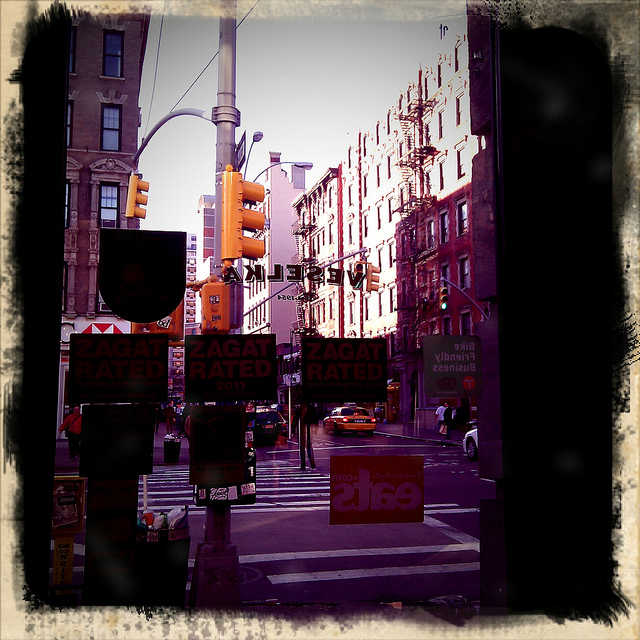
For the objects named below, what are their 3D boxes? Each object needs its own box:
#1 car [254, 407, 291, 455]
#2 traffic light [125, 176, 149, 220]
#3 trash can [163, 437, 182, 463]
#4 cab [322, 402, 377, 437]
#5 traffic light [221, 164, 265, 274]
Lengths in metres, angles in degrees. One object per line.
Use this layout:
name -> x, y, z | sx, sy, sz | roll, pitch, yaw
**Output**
car -> -1.489, 3.499, 29.126 | 1.282, 1.216, 3.071 | 0, -7, -3
traffic light -> -2.897, -1.933, 14.944 | 0.288, 0.688, 0.204 | 11, 18, 0
trash can -> -3.411, 3.011, 21.486 | 0.349, 0.584, 0.505 | 2, -4, -15
cab -> 0.977, 3.752, 35.007 | 1.456, 1.241, 3.526 | 2, -5, -8
traffic light -> -0.819, -1.048, 9.926 | 0.459, 1.173, 0.580 | 2, -4, -5
